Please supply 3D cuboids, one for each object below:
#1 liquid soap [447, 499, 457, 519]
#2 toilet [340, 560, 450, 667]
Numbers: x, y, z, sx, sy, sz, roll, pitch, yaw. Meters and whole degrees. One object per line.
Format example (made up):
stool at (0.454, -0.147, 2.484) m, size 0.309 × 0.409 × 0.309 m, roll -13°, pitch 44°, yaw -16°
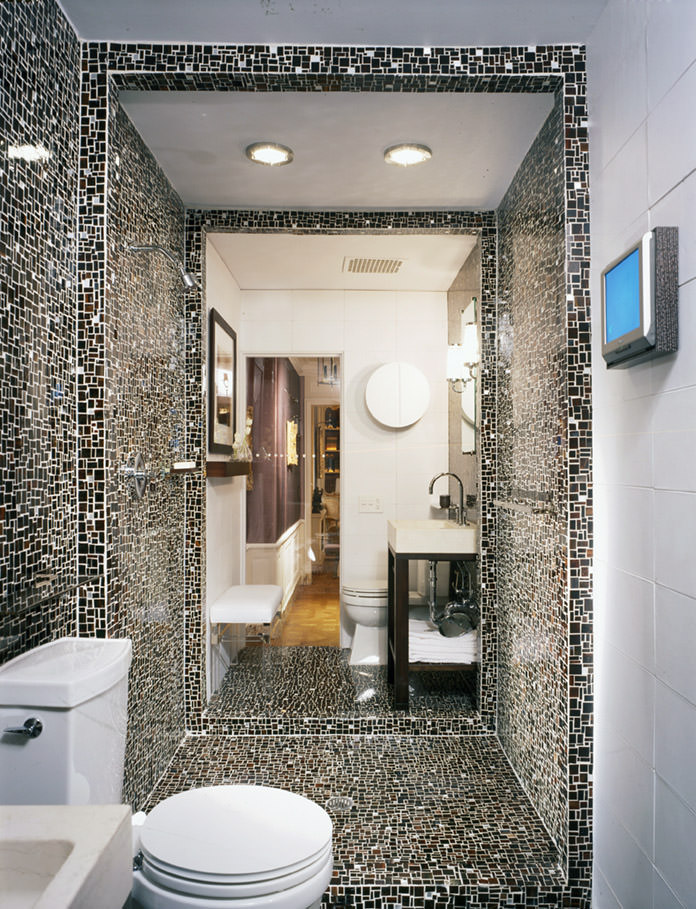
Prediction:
liquid soap at (0.575, 0.297, 3.872) m, size 0.059 × 0.153 × 0.070 m, roll 1°, pitch 9°, yaw 7°
toilet at (0.229, 0.812, 3.623) m, size 0.472 × 0.838 × 0.478 m, roll 2°, pitch 2°, yaw 3°
